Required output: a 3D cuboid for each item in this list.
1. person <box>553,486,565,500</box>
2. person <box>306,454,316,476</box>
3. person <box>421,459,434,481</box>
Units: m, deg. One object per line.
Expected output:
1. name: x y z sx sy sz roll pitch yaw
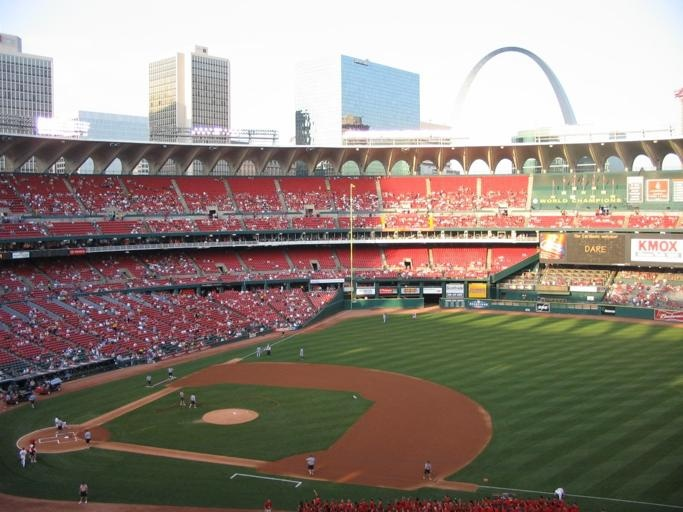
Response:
1. person: 11.617 12.616 33.980 0.616 0.242 0.820 7 7 4
2. person: -1.858 11.987 37.356 0.578 1.122 1.645 -3 13 -4
3. person: 4.999 12.134 36.817 0.554 1.000 1.342 -1 13 7
